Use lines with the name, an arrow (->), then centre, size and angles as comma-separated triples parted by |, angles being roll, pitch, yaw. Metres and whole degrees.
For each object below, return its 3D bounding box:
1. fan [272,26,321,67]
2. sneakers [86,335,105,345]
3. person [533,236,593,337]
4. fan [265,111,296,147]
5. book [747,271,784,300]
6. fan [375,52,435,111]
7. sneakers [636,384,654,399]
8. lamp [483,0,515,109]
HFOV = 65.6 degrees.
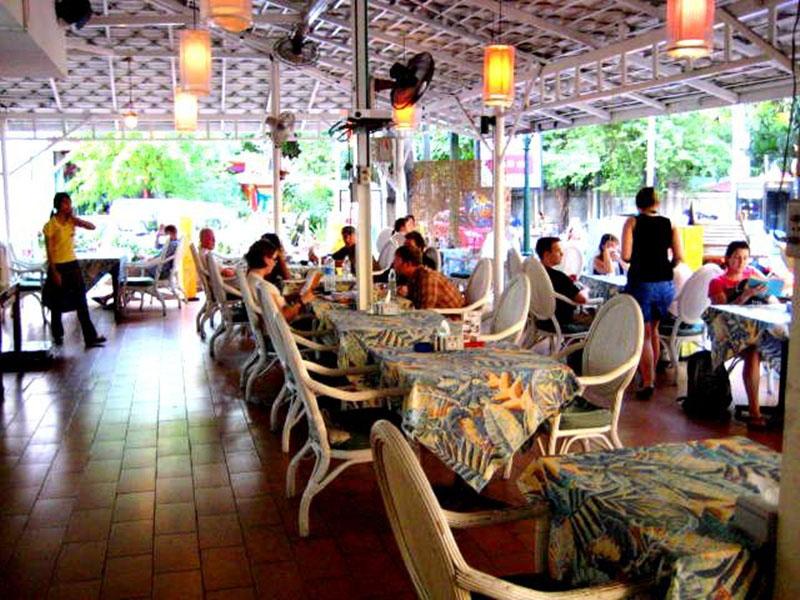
fan -> -1.260, -3.025, 7.599 | 0.495, 0.482, 0.501 | 7, 10, 0
sneakers -> -3.602, 0.478, 7.346 | 0.245, 0.099, 0.082 | -9, 9, -22
person -> 1.682, -0.191, 6.123 | 0.676, 0.903, 0.689 | -3, 7, 16
fan -> -1.870, -2.672, 9.665 | 0.401, 0.567, 0.920 | -5, 9, -11
book -> 3.133, -0.122, 5.195 | 0.394, 0.149, 0.305 | 10, 4, 28
fan -> 0.065, -1.824, 5.253 | 0.283, 0.433, 0.577 | 9, 5, -37
sneakers -> 2.096, 0.778, 5.290 | 0.142, 0.136, 0.102 | 2, 6, 2
lamp -> 0.961, -2.207, 6.094 | 0.291, 0.550, 0.263 | -3, 9, 5
